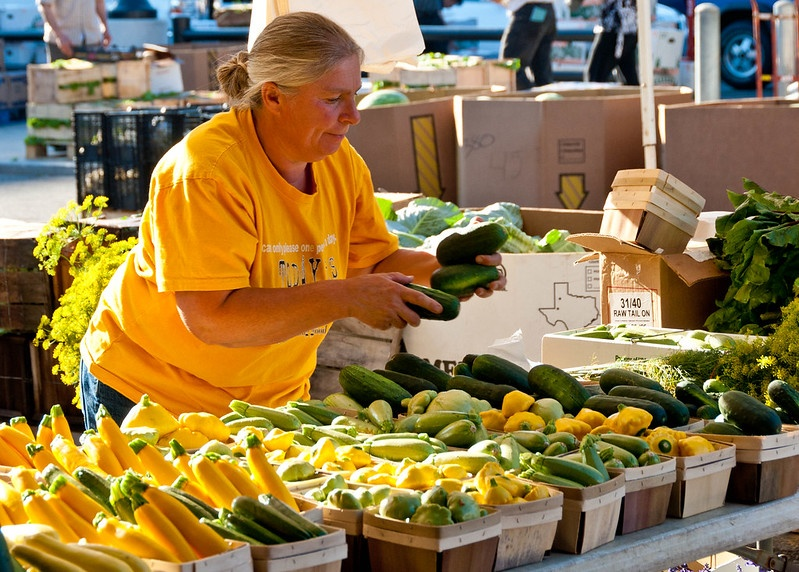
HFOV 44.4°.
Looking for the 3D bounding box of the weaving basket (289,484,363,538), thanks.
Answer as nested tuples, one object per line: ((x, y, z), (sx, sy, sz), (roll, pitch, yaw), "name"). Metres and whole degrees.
((-0.231, 0.722, 3.143), (0.196, 0.074, 0.139), (6, 8, 40), "weaving basket")

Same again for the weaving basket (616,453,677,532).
((0.873, 0.727, 3.424), (0.178, 0.165, 0.257), (3, 3, 38), "weaving basket")

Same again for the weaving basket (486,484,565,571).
((0.405, 0.774, 3.165), (0.271, 0.174, 0.213), (-4, 6, -28), "weaving basket")

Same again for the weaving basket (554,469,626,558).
((0.644, 0.763, 3.322), (0.201, 0.181, 0.270), (3, 4, 40), "weaving basket")

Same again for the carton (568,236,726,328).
((1.617, -0.031, 5.988), (0.702, 0.456, 0.716), (7, 11, 40), "carton")

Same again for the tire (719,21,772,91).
((6.216, -4.186, 17.720), (0.556, 1.189, 0.585), (-1, 5, 17), "tire")

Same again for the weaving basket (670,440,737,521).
((1.106, 0.702, 3.500), (0.205, 0.179, 0.271), (-1, -1, -22), "weaving basket")

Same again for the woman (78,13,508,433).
((-0.598, -0.250, 4.117), (1.523, 1.697, 0.864), (-2, 5, 1), "woman")
